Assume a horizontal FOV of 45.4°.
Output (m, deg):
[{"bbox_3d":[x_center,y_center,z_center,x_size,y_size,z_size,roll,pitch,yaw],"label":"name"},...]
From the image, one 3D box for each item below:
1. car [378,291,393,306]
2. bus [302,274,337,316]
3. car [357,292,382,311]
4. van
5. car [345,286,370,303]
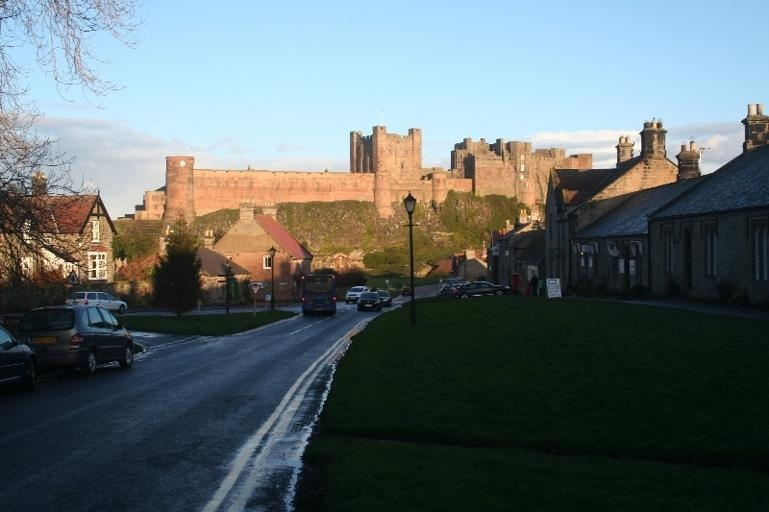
[{"bbox_3d":[-0.040,3.294,71.914,1.450,0.974,2.452,-1,-4,0],"label":"car"},{"bbox_3d":[-4.459,2.613,62.440,2.130,2.488,1.438,-3,-1,7],"label":"bus"},{"bbox_3d":[-1.106,3.292,67.094,1.343,0.913,2.278,-1,-6,0],"label":"car"},{"bbox_3d":[-9.880,2.625,30.019,1.898,1.299,3.562,0,0,17],"label":"van"},{"bbox_3d":[-2.862,3.612,85.679,1.475,1.076,2.362,-2,-7,9],"label":"car"}]
